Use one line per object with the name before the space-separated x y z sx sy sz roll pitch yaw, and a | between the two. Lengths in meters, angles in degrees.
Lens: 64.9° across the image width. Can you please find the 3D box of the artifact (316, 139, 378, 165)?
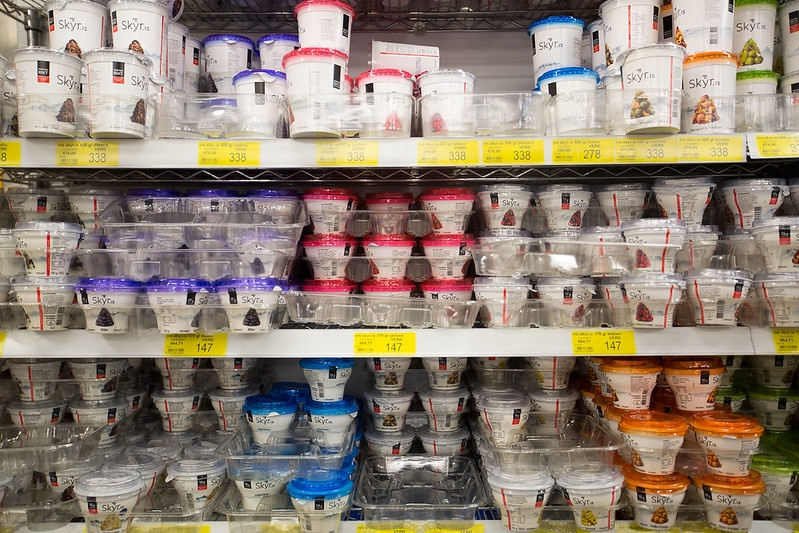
artifact | -0.199 -0.413 2.306 0.209 0.091 0.088 -3 2 -2

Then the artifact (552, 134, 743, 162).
artifact | 0.912 -0.428 2.312 0.710 0.111 0.060 -2 4 -1

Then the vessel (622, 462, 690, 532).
vessel | 0.926 0.849 2.303 0.240 0.170 0.225 1 5 10

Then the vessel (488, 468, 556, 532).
vessel | 0.440 0.831 2.327 0.247 0.164 0.238 -3 5 -34

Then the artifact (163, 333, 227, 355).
artifact | -0.759 0.292 2.333 0.238 0.083 0.042 -2 4 5
